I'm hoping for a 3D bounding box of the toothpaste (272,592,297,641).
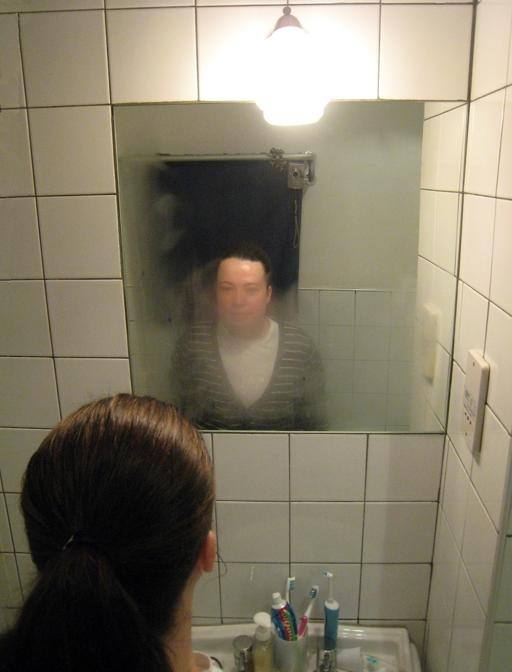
[{"bbox_3d":[0.075,0.719,1.517,0.057,0.162,0.036,-19,26,-4],"label":"toothpaste"}]

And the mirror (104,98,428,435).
[{"bbox_3d":[0.019,-0.148,1.476,0.732,0.011,1.070,-2,53,7],"label":"mirror"}]

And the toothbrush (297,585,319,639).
[{"bbox_3d":[0.138,0.713,1.539,0.029,0.038,0.236,-5,10,12],"label":"toothbrush"}]
